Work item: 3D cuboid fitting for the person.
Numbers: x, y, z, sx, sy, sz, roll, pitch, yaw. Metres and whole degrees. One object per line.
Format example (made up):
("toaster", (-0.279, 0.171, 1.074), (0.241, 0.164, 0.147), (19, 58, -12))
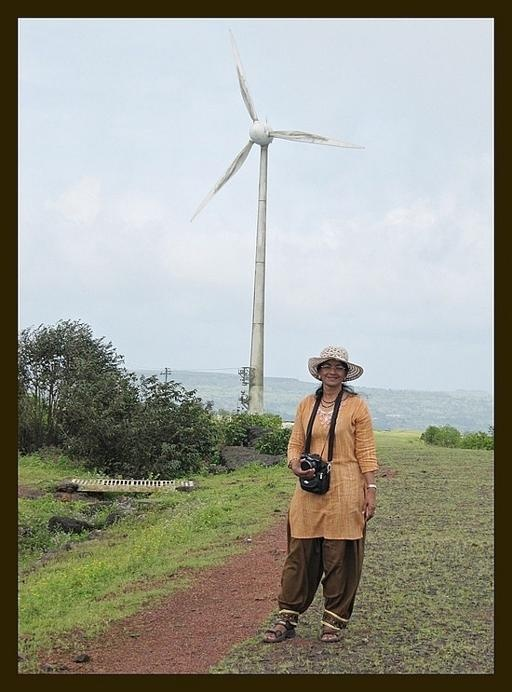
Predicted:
("person", (0.542, 1.219, 5.483), (0.817, 2.255, 0.448), (-1, 0, 4))

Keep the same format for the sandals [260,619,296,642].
("sandals", (0.183, 2.349, 5.647), (0.129, 0.172, 0.360), (-8, -14, 38))

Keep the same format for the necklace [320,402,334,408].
("necklace", (0.565, 0.467, 5.438), (0.077, 0.059, 0.016), (2, -36, 10))

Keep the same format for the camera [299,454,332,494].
("camera", (0.488, 0.994, 5.428), (0.267, 0.326, 0.292), (3, 6, 24))
